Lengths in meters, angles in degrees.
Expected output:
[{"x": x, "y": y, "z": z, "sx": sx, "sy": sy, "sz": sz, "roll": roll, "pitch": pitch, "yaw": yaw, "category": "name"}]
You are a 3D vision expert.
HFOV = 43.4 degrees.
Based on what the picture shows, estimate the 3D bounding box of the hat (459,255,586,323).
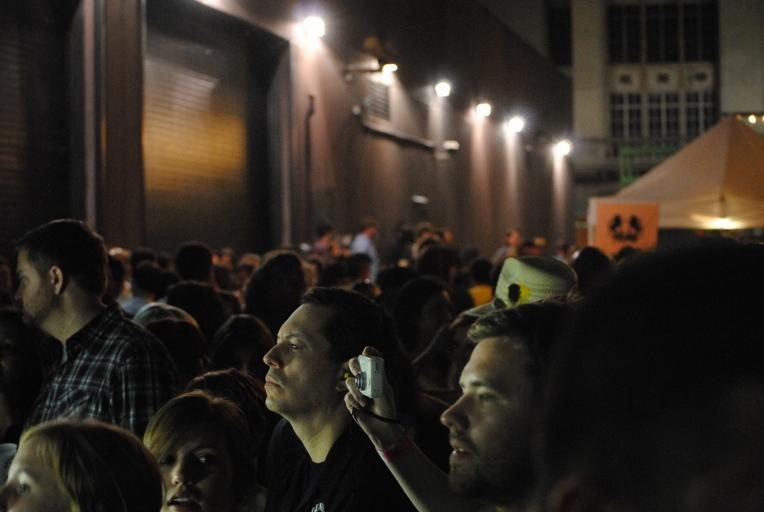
[{"x": 0.774, "y": 0.154, "z": 5.409, "sx": 0.590, "sy": 0.271, "sz": 0.354, "roll": 1, "pitch": 2, "yaw": 12, "category": "hat"}]

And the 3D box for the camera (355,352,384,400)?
[{"x": -0.068, "y": 0.590, "z": 4.585, "sx": 0.135, "sy": 0.194, "sz": 0.239, "roll": 0, "pitch": 2, "yaw": -17, "category": "camera"}]
